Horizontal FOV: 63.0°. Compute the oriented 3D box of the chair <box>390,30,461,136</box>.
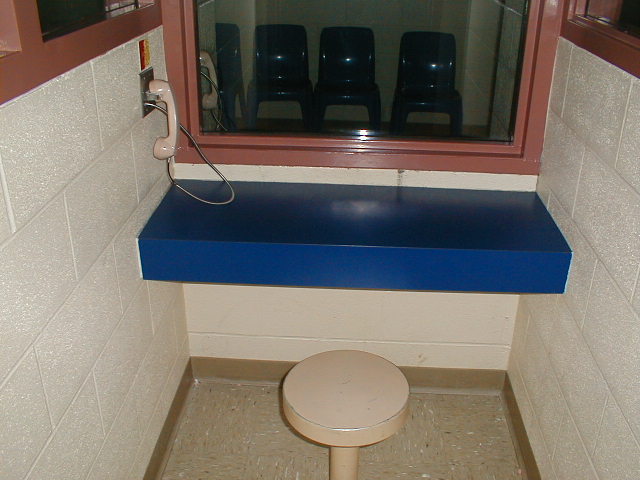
[{"bbox_3d":[0.463,-0.662,2.298,0.322,0.390,0.331,6,4,31],"label":"chair"}]

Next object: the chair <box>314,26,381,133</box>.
[{"bbox_3d":[0.111,-0.681,2.215,0.285,0.398,0.306,0,59,0],"label":"chair"}]

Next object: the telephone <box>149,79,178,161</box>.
[{"bbox_3d":[-0.581,-0.457,1.965,0.097,0.295,0.068,-4,8,-8],"label":"telephone"}]
